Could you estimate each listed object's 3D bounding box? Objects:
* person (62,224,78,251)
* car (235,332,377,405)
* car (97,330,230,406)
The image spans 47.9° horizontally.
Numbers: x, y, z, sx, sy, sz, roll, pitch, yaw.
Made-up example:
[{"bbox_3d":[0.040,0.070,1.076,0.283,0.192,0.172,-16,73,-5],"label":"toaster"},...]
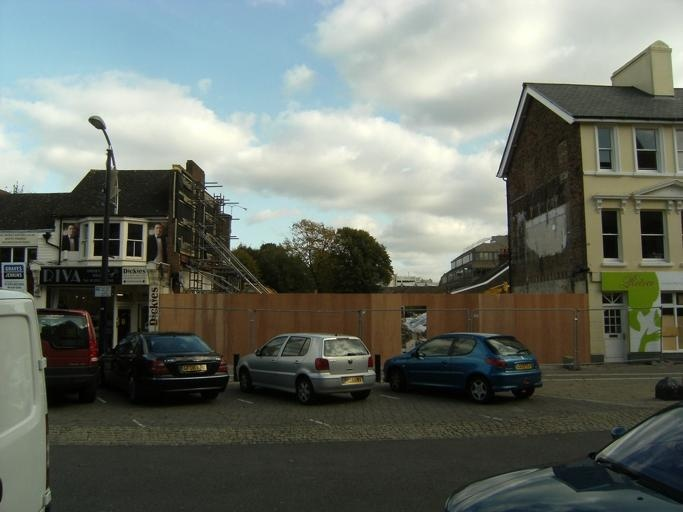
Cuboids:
[{"bbox_3d":[-12.461,-0.874,35.541,0.748,1.234,0.389,0,4,-13],"label":"person"},{"bbox_3d":[-0.937,2.761,19.355,3.294,1.626,1.318,2,4,32],"label":"car"},{"bbox_3d":[-4.466,2.803,19.224,3.245,1.779,1.716,3,4,43],"label":"car"}]
